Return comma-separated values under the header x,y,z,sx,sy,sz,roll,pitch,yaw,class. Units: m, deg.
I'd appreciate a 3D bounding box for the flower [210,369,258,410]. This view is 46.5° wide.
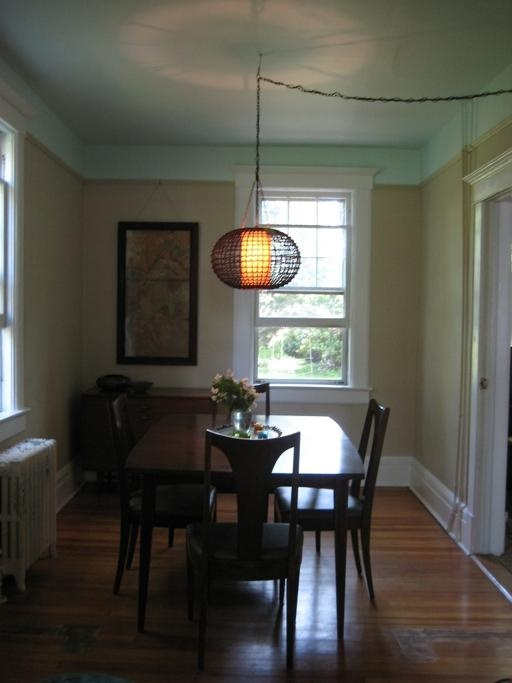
x,y,z,sx,sy,sz,roll,pitch,yaw,class
-0.116,0.280,2.913,0.177,0.216,0.218,1,14,2,flower

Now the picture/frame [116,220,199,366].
x,y,z,sx,sy,sz,roll,pitch,yaw,class
-0.731,-0.364,4.456,0.611,1.282,0.056,0,-26,-8,picture/frame

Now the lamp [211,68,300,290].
x,y,z,sx,sy,sz,roll,pitch,yaw,class
-0.032,-0.838,3.257,0.412,1.114,1.219,1,4,-4,lamp
